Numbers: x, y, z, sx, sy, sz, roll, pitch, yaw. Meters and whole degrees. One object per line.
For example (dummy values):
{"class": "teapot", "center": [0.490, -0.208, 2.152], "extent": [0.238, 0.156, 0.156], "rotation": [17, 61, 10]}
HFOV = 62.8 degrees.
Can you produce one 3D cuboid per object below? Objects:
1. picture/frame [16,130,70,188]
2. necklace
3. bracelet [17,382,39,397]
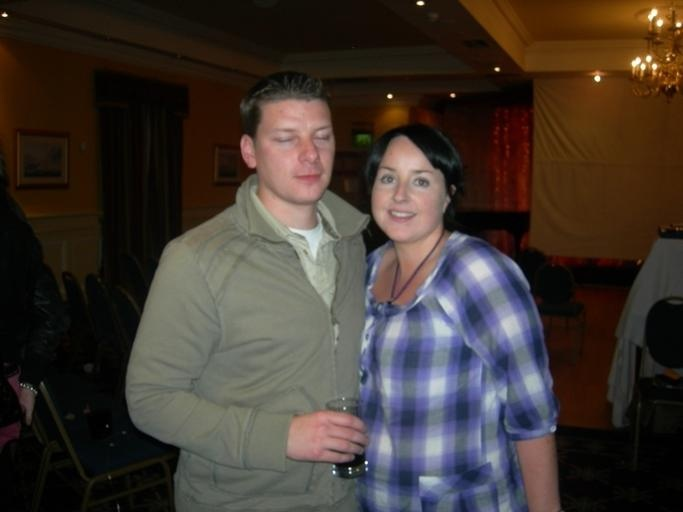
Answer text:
{"class": "picture/frame", "center": [-3.612, -1.173, 6.702], "extent": [0.048, 0.701, 0.717], "rotation": [4, 5, 33]}
{"class": "necklace", "center": [0.298, 0.050, 2.315], "extent": [0.180, 0.351, 0.068], "rotation": [32, -22, 3]}
{"class": "bracelet", "center": [-1.473, 0.628, 2.629], "extent": [0.058, 0.027, 0.068], "rotation": [30, -12, 9]}
